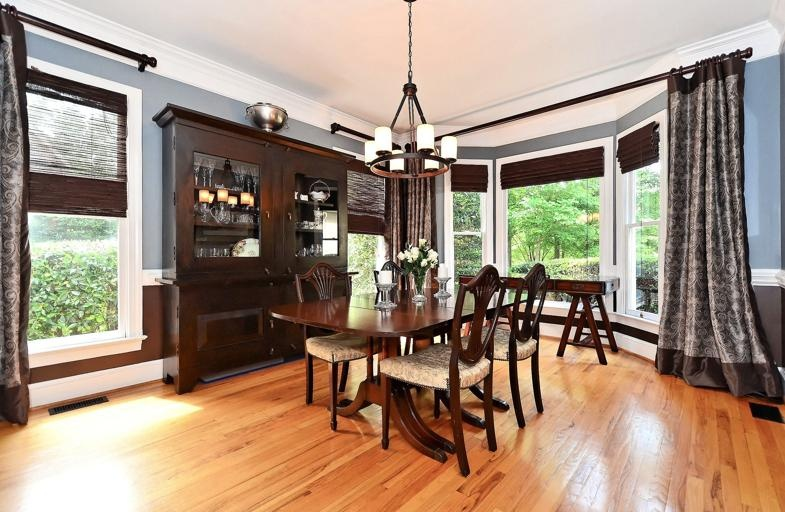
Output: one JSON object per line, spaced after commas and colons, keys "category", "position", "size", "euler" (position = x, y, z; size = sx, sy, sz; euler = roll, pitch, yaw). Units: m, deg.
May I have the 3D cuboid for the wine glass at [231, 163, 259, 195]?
{"category": "wine glass", "position": [-1.618, -0.834, 5.266], "size": [0.197, 0.342, 0.365], "euler": [0, 0, 30]}

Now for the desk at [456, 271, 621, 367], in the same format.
{"category": "desk", "position": [1.827, 0.721, 6.161], "size": [1.772, 1.010, 0.654], "euler": [2, 11, 39]}

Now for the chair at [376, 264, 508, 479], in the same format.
{"category": "chair", "position": [0.440, 0.893, 4.207], "size": [0.876, 1.467, 0.821], "euler": [-1, 3, 42]}

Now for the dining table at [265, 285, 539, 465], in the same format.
{"category": "dining table", "position": [-0.065, 0.629, 4.364], "size": [1.168, 0.883, 1.789], "euler": [-1, 16, -22]}

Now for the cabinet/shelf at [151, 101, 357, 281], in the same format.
{"category": "cabinet/shelf", "position": [-1.597, -0.671, 5.330], "size": [0.585, 1.983, 2.217], "euler": [-3, -5, 43]}

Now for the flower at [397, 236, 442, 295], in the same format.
{"category": "flower", "position": [0.318, 0.142, 4.853], "size": [0.402, 0.550, 0.416], "euler": [-4, 15, -36]}

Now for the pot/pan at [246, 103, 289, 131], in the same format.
{"category": "pot/pan", "position": [-1.398, -1.539, 5.410], "size": [0.365, 0.203, 0.360], "euler": [3, 0, -43]}
